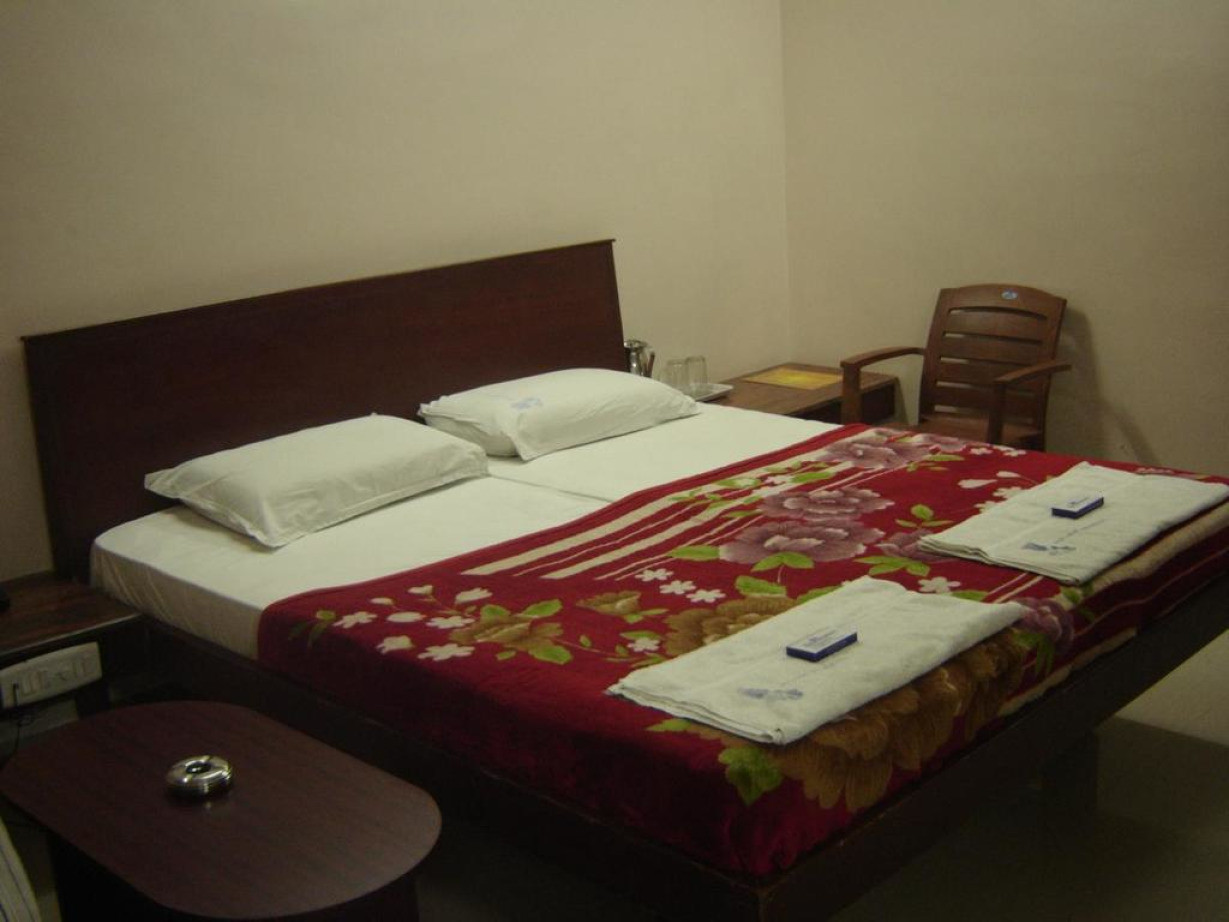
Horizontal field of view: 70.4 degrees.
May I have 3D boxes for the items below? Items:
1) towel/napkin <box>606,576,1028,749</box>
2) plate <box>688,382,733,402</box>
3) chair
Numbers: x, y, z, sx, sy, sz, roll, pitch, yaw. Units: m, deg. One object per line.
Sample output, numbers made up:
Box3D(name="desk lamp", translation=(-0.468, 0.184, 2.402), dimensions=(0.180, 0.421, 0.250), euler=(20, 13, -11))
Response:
Box3D(name="towel/napkin", translation=(0.450, 0.387, 1.776), dimensions=(0.614, 0.064, 0.348), euler=(-17, 18, -37))
Box3D(name="plate", translation=(0.478, -0.334, 4.209), dimensions=(0.157, 0.026, 0.107), euler=(-23, 31, -39))
Box3D(name="chair", translation=(1.732, -0.273, 4.417), dimensions=(1.040, 1.035, 0.997), euler=(5, -1, 21))
